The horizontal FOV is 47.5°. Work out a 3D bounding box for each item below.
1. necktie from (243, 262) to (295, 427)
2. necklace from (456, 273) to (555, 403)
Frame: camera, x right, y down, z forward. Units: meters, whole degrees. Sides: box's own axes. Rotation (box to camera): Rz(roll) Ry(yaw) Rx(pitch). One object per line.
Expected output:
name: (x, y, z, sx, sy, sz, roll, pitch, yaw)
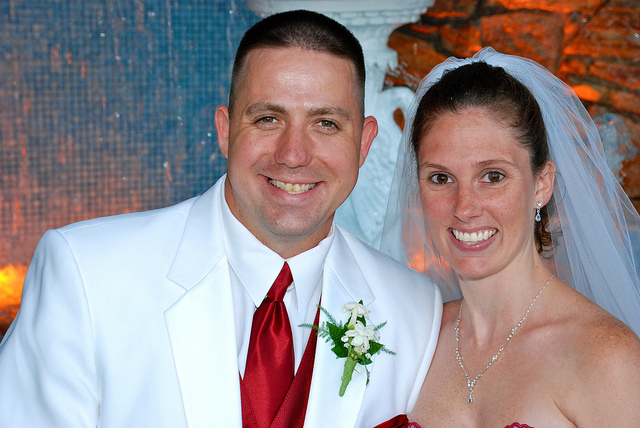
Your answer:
necktie: (-0.282, 0.714, 4.050, 0.280, 0.896, 0.122, 2, -18, -4)
necklace: (1.254, 0.447, 4.273, 0.076, 0.642, 0.803, 27, -37, 9)
